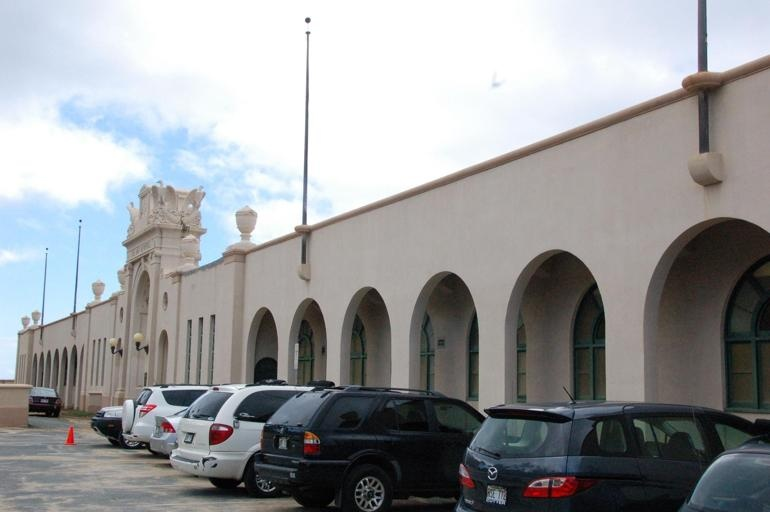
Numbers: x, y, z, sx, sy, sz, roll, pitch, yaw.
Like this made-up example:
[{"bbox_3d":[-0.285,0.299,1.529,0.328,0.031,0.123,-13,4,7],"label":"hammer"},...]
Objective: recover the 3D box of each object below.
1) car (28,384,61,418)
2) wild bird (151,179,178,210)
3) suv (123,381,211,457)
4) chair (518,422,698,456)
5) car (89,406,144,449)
[{"bbox_3d":[-18.538,7.976,41.629,1.145,1.034,3.022,2,-4,-23],"label":"car"},{"bbox_3d":[-11.990,-3.250,41.145,1.189,1.496,0.715,4,-16,-9],"label":"wild bird"},{"bbox_3d":[-5.915,4.550,21.860,3.026,1.536,1.769,-1,-4,-25],"label":"suv"},{"bbox_3d":[3.112,2.482,10.387,1.669,0.472,1.012,3,-8,-16],"label":"chair"},{"bbox_3d":[-8.773,5.482,24.410,2.080,0.952,0.979,11,-14,-28],"label":"car"}]
